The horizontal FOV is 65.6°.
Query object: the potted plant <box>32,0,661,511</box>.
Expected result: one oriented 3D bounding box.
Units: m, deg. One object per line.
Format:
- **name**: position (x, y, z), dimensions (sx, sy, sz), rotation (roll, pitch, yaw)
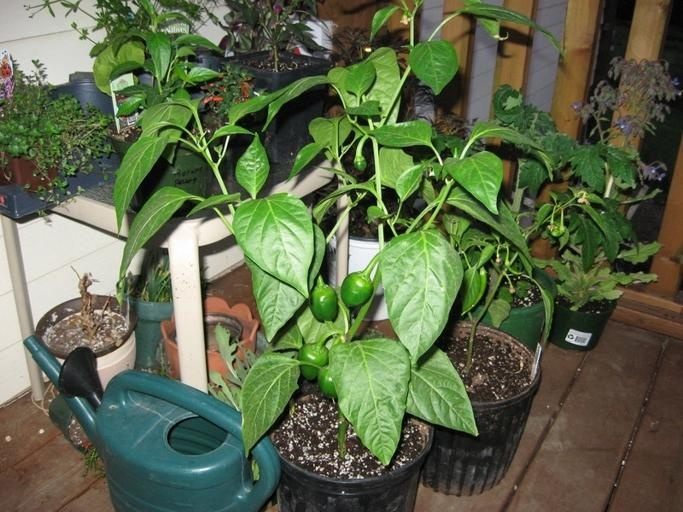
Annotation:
- **potted plant**: position (0.202, -0.243, 2.108), dimensions (2.216, 1.418, 1.830), rotation (-14, 29, -30)
